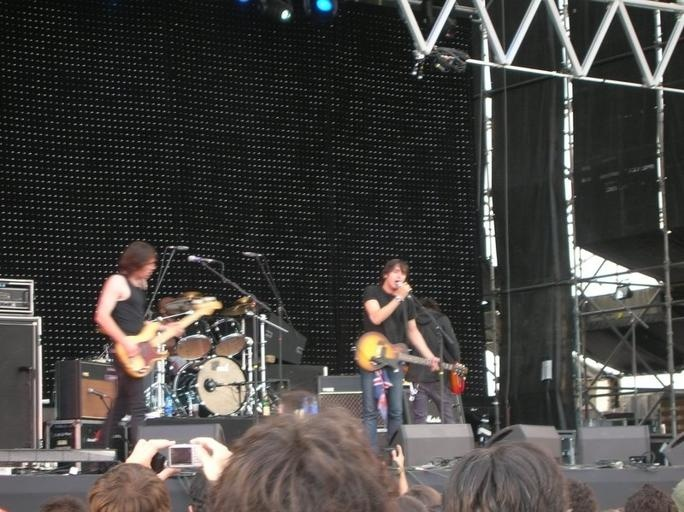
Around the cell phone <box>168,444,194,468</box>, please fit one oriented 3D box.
[{"bbox_3d":[-0.894,1.205,6.189,0.155,0.131,0.147,1,-9,-4],"label":"cell phone"}]

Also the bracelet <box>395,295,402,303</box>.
[{"bbox_3d":[0.539,0.379,9.013,0.056,0.051,0.012,-5,-34,-15],"label":"bracelet"}]

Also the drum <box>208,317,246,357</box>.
[{"bbox_3d":[-1.088,0.846,10.866,0.404,0.283,0.389,-23,-30,-15],"label":"drum"}]

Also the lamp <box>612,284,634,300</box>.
[{"bbox_3d":[3.513,0.461,13.036,0.196,0.199,0.166,-4,10,-38],"label":"lamp"}]

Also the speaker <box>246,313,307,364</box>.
[{"bbox_3d":[-0.642,0.913,11.228,0.286,0.482,0.539,-21,-23,23],"label":"speaker"}]

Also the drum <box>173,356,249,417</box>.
[{"bbox_3d":[-1.230,1.371,10.724,0.679,0.604,0.659,8,-13,-36],"label":"drum"}]

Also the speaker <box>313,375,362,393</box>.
[{"bbox_3d":[0.036,1.248,10.059,0.415,0.174,0.183,-2,-15,-11],"label":"speaker"}]

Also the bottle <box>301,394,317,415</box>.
[{"bbox_3d":[-0.128,0.739,5.127,0.052,0.112,0.122,-2,1,-44],"label":"bottle"}]

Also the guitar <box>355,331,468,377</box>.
[{"bbox_3d":[0.479,0.866,9.161,0.290,0.363,0.674,-16,-19,37],"label":"guitar"}]

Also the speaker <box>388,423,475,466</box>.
[{"bbox_3d":[0.771,1.475,8.171,0.589,0.346,0.388,2,-8,-17],"label":"speaker"}]

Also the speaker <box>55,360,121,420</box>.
[{"bbox_3d":[-2.309,1.300,9.879,0.453,0.703,0.770,-9,-11,35],"label":"speaker"}]

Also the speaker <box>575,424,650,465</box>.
[{"bbox_3d":[2.174,1.519,8.474,0.513,0.309,0.322,0,-5,-4],"label":"speaker"}]

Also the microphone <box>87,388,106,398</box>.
[{"bbox_3d":[-2.272,1.373,10.251,0.221,0.060,0.066,30,-35,-27],"label":"microphone"}]

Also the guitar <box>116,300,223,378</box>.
[{"bbox_3d":[-1.446,0.771,9.308,0.127,0.308,0.903,-12,14,32],"label":"guitar"}]
